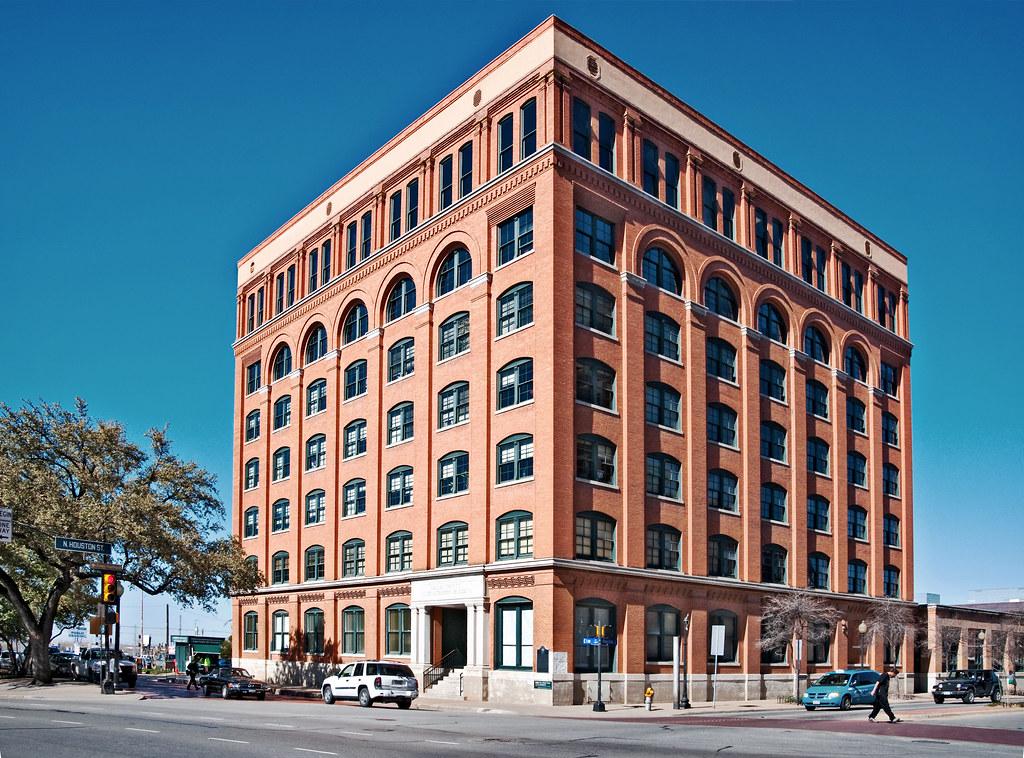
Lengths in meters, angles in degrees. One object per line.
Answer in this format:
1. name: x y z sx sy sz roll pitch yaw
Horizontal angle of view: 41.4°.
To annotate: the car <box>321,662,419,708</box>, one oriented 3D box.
1. car: -7.164 15.761 70.187 2.395 1.873 4.791 12 -15 -37
